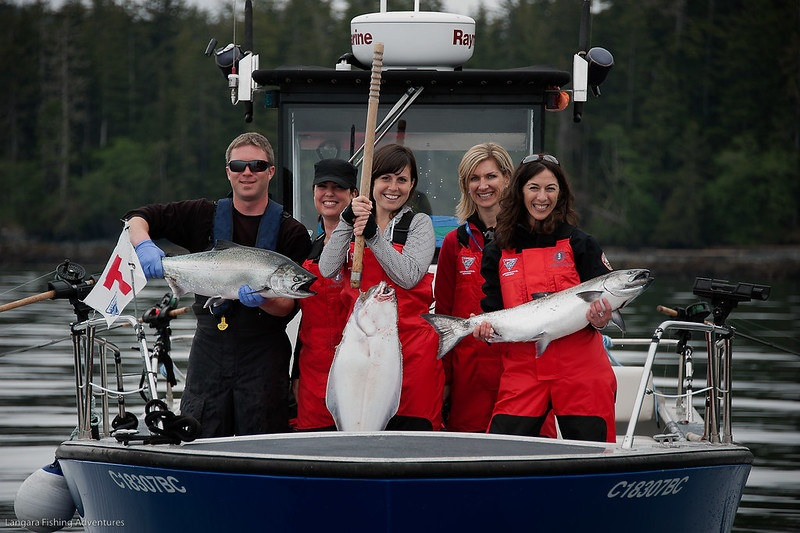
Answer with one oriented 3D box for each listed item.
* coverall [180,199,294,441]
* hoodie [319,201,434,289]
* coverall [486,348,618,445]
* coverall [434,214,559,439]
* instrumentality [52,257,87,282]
[{"bbox_3d":[-2.535,1.068,25.671,2.149,4.506,1.166,17,29,21],"label":"coverall"},{"bbox_3d":[-0.099,-0.258,24.578,1.682,1.438,0.573,10,-6,5],"label":"hoodie"},{"bbox_3d":[2.506,2.056,25.352,2.034,1.683,0.993,1,-14,24],"label":"coverall"},{"bbox_3d":[0.976,0.936,25.660,2.288,3.391,1.135,4,1,14],"label":"coverall"},{"bbox_3d":[-5.283,0.058,25.513,0.418,0.354,0.285,-2,-31,-27],"label":"instrumentality"}]
